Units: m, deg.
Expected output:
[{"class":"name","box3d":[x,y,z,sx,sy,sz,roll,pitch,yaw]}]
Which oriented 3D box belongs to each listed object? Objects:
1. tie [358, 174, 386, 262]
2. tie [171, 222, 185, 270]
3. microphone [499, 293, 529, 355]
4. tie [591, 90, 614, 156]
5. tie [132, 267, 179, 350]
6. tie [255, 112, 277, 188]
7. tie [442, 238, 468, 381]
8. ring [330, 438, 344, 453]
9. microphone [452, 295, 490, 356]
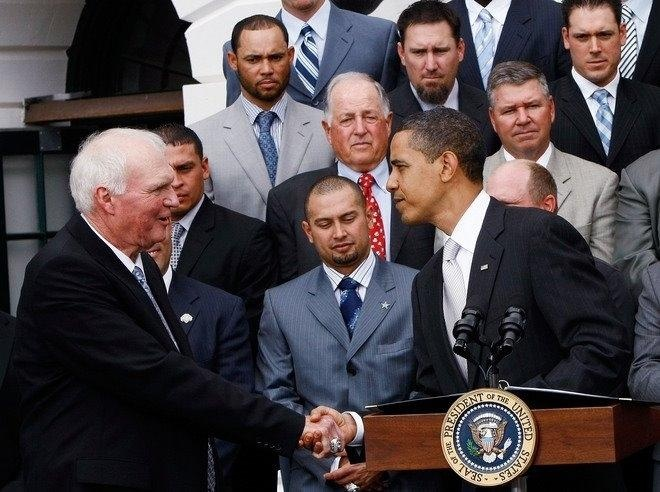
[{"class":"tie","box3d":[0.302,-0.186,4.957,0.117,0.683,0.073,-17,-4,32]},{"class":"tie","box3d":[-1.067,-0.013,5.161,0.042,0.265,0.191,14,-20,-41]},{"class":"microphone","box3d":[0.725,0.312,2.939,0.093,0.089,0.222,35,39,-8]},{"class":"tie","box3d":[1.972,-0.896,5.326,0.132,0.490,0.081,-4,-10,10]},{"class":"tie","box3d":[-0.890,0.322,3.720,0.489,0.059,0.073,53,7,26]},{"class":"tie","box3d":[-0.460,-0.728,5.455,0.125,0.591,0.080,-3,-2,1]},{"class":"tie","box3d":[0.675,0.326,3.733,0.138,0.684,0.175,-1,-8,-14]},{"class":"ring","box3d":[0.036,1.057,3.916,0.036,0.060,0.079,-19,25,11]},{"class":"microphone","box3d":[0.608,0.341,3.139,0.137,0.107,0.287,-15,29,16]}]
